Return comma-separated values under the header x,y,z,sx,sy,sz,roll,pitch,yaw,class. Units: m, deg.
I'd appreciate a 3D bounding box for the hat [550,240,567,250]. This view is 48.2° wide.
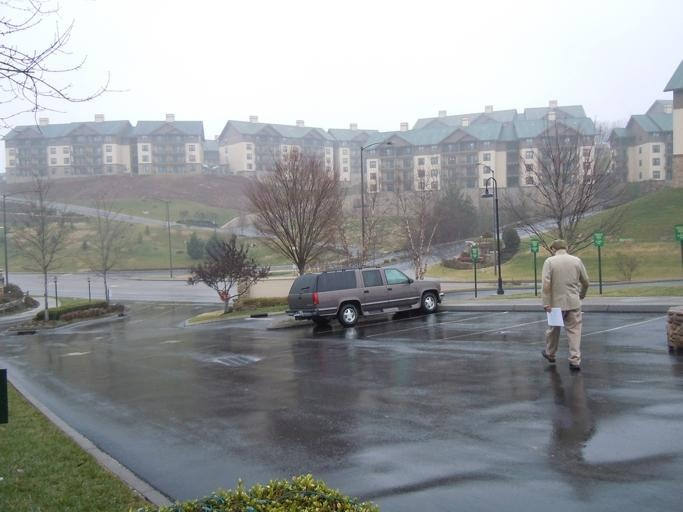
x,y,z,sx,sy,sz,roll,pitch,yaw,class
4.297,-0.221,15.196,0.227,0.140,0.301,-2,2,2,hat

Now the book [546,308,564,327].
x,y,z,sx,sy,sz,roll,pitch,yaw,class
4.078,1.167,14.601,0.417,0.390,0.044,-4,-3,43,book

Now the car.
x,y,z,sx,sy,sz,roll,pitch,yaw,class
0.805,1.126,24.355,4.710,1.399,2.020,-7,6,-32,car
